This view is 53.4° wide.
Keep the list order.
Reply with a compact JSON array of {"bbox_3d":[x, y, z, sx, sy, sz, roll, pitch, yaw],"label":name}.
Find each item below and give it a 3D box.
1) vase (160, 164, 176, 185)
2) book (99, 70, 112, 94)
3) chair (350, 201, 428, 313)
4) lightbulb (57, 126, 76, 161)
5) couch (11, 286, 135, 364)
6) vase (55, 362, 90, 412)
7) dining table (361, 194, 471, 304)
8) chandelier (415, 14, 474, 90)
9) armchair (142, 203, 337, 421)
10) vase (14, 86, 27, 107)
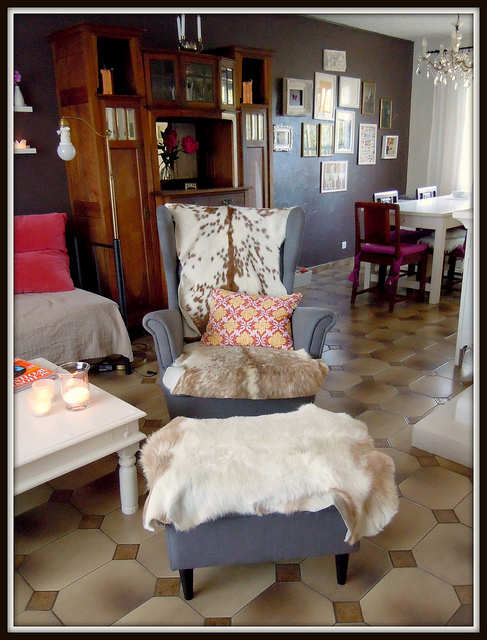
[{"bbox_3d":[-0.621,-1.208,4.013,0.058,0.159,0.182,8,20,30],"label":"vase"},{"bbox_3d":[-0.899,-1.547,3.156,0.097,0.162,0.219,-7,18,-13],"label":"book"},{"bbox_3d":[1.287,-0.582,4.314,0.584,0.961,0.512,-15,23,-32],"label":"chair"},{"bbox_3d":[-1.030,-1.020,2.788,0.086,0.181,0.241,-9,18,-17],"label":"lightbulb"},{"bbox_3d":[-0.973,0.024,2.981,0.724,0.291,0.711,-8,15,10],"label":"couch"},{"bbox_3d":[-0.605,0.236,1.732,0.109,0.137,0.156,-7,18,-12],"label":"vase"},{"bbox_3d":[1.639,-0.752,4.615,0.813,1.311,0.818,-14,19,-40],"label":"dining table"},{"bbox_3d":[1.824,-2.364,4.217,0.515,0.542,0.442,15,36,25],"label":"chandelier"},{"bbox_3d":[-0.018,-0.083,2.324,0.941,1.120,1.063,-1,12,-3],"label":"armchair"},{"bbox_3d":[-1.414,-1.406,3.043,0.071,0.135,0.118,-10,19,-21],"label":"vase"}]
